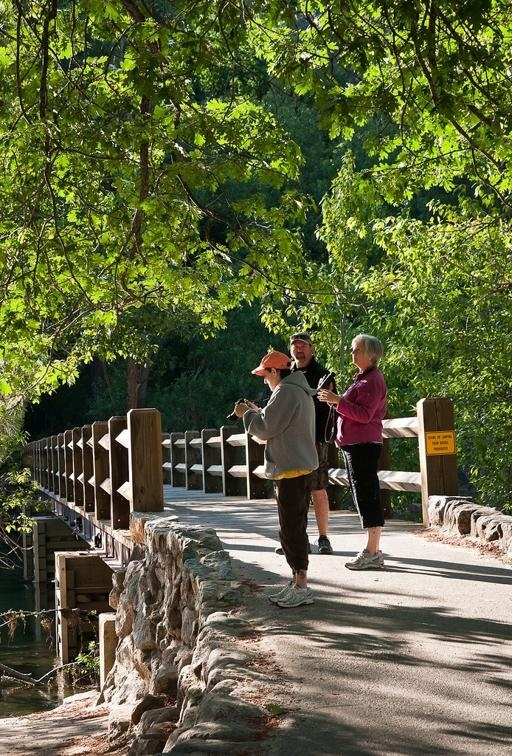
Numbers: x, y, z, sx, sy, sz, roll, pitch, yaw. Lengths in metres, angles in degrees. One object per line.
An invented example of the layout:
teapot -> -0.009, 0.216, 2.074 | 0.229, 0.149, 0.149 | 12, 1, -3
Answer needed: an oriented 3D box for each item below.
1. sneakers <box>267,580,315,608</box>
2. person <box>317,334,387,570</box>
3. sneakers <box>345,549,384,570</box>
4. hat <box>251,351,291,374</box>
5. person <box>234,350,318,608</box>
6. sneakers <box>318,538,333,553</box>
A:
sneakers -> 0.177, 1.179, 5.587 | 0.208, 0.087, 0.127 | 4, -8, -18
person -> 0.649, 0.491, 6.802 | 0.420, 1.554, 0.454 | -2, 1, 6
sneakers -> 0.717, 1.222, 6.788 | 0.291, 0.130, 0.102 | 1, -7, -3
hat -> 0.075, -0.088, 5.760 | 0.190, 0.103, 0.121 | 2, 0, 6
person -> 0.113, 0.551, 5.691 | 0.440, 0.947, 0.402 | -2, 1, 0
sneakers -> 0.494, 1.233, 7.503 | 0.093, 0.100, 0.246 | -1, -9, 3
